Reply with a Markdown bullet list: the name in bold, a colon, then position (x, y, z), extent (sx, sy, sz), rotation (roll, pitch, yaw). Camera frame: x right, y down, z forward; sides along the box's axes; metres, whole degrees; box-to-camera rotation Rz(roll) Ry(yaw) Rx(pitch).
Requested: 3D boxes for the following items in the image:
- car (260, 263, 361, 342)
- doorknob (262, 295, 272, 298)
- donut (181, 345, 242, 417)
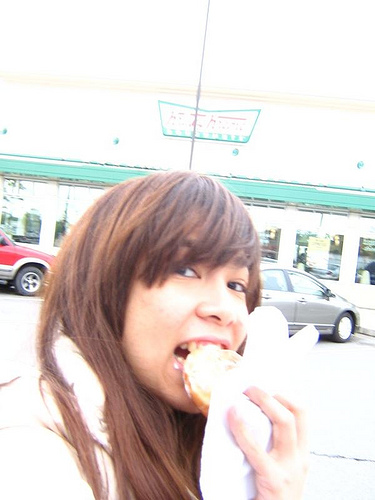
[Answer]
- **car**: position (2.242, 1.075, 8.035), extent (3.042, 1.420, 1.525), rotation (-1, 1, -23)
- **doorknob**: position (1.441, 0.873, 7.056), extent (0.219, 0.045, 0.102), rotation (7, 0, -43)
- **donut**: position (0.065, 0.349, 1.097), extent (0.048, 0.159, 0.166), rotation (-21, -54, 31)
